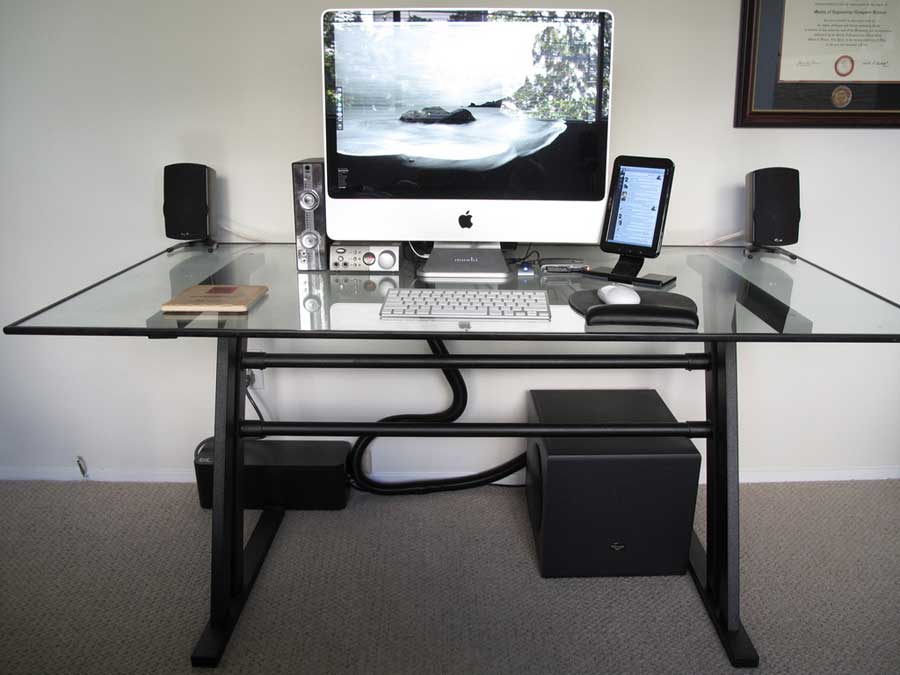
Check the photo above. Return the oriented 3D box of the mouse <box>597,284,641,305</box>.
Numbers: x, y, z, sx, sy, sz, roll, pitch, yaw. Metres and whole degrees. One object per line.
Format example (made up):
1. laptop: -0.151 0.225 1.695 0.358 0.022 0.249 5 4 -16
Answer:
1. mouse: 0.424 -0.117 1.795 0.058 0.024 0.073 -1 19 4

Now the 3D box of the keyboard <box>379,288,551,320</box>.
1. keyboard: 0.039 -0.088 1.772 0.413 0.042 0.156 3 22 4

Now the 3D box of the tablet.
1. tablet: 0.546 -0.370 2.072 0.231 0.405 0.140 12 18 22

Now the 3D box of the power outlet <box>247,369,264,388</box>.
1. power outlet: -0.685 0.135 2.492 0.045 0.049 0.085 -2 -1 -35

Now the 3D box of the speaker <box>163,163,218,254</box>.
1. speaker: -0.863 -0.457 2.377 0.135 0.304 0.125 3 19 -2
